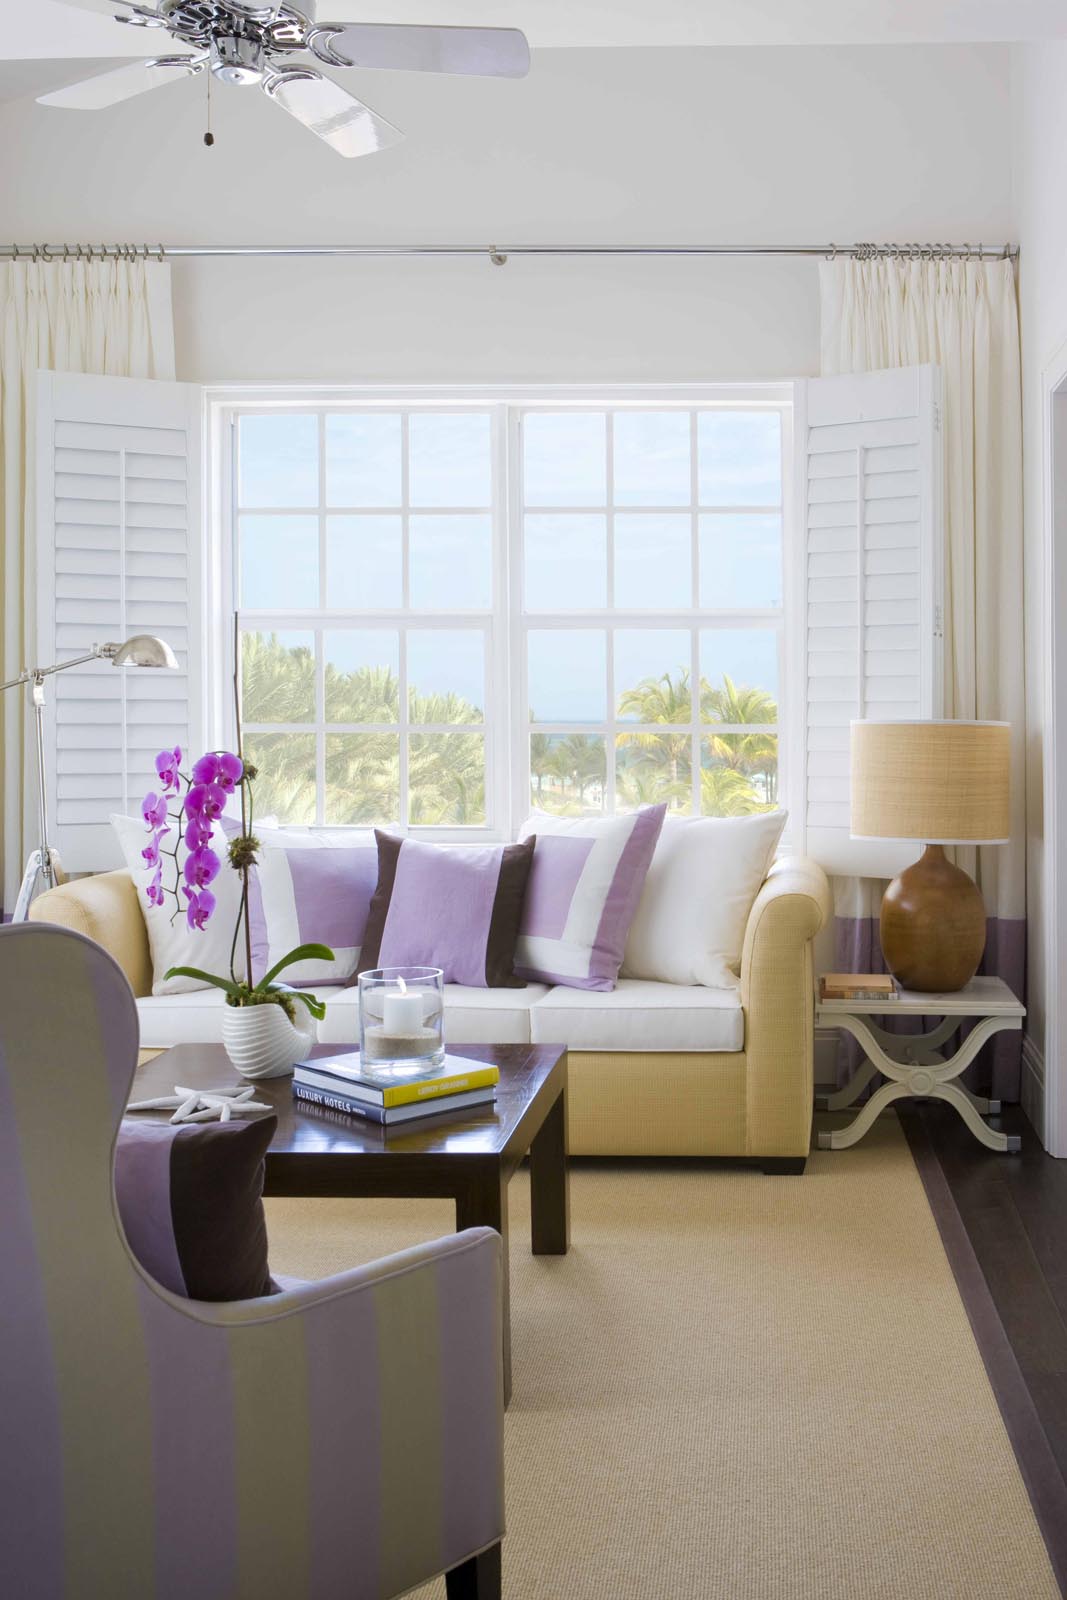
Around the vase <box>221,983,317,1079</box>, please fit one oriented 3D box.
[{"bbox_3d":[-0.484,0.434,2.494,0.135,0.161,0.175,-1,-11,7],"label":"vase"}]

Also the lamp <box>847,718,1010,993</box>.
[{"bbox_3d":[1.001,0.146,3.450,0.378,0.691,0.287,0,1,16],"label":"lamp"}]

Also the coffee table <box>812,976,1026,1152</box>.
[{"bbox_3d":[1.000,0.639,3.581,0.513,0.397,0.442,0,0,7],"label":"coffee table"}]
